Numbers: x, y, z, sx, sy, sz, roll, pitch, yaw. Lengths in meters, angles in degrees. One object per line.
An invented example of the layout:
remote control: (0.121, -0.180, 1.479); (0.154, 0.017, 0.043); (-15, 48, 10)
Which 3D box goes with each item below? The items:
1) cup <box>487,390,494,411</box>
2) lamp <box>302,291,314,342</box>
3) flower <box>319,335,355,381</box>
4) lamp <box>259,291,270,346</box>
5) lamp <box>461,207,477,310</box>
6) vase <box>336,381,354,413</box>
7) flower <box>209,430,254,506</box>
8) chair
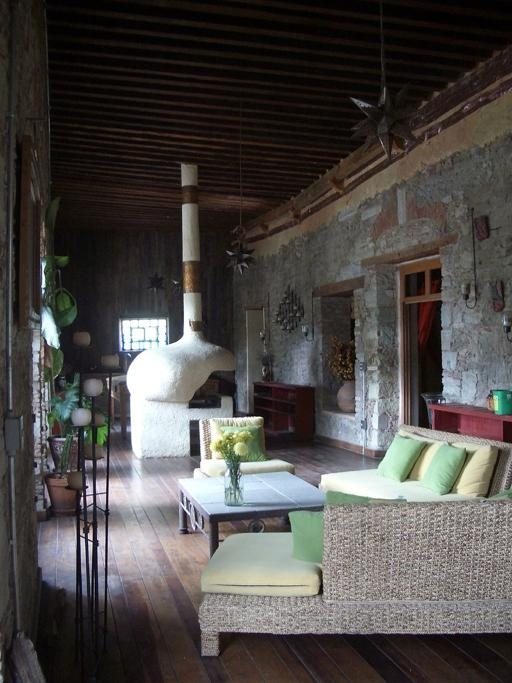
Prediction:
cup: (1.952, 0.491, 4.374); (0.067, 0.157, 0.117); (-3, 6, 25)
lamp: (0.860, -0.409, 8.812); (0.120, 0.816, 0.432); (-2, -3, -11)
flower: (1.238, 0.273, 8.109); (0.225, 0.915, 0.684); (3, -2, -36)
lamp: (0.192, -0.432, 10.778); (0.162, 1.072, 0.646); (-2, -3, -3)
lamp: (2.071, -0.819, 5.123); (0.091, 0.994, 0.248); (-1, -3, -20)
vase: (1.343, 0.823, 7.859); (0.164, 0.466, 0.368); (-1, -3, -21)
flower: (-0.145, 0.821, 3.379); (0.238, 0.462, 0.252); (12, -20, -41)
chair: (-0.166, 0.967, 4.842); (0.636, 0.605, 0.666); (1, -10, -13)
